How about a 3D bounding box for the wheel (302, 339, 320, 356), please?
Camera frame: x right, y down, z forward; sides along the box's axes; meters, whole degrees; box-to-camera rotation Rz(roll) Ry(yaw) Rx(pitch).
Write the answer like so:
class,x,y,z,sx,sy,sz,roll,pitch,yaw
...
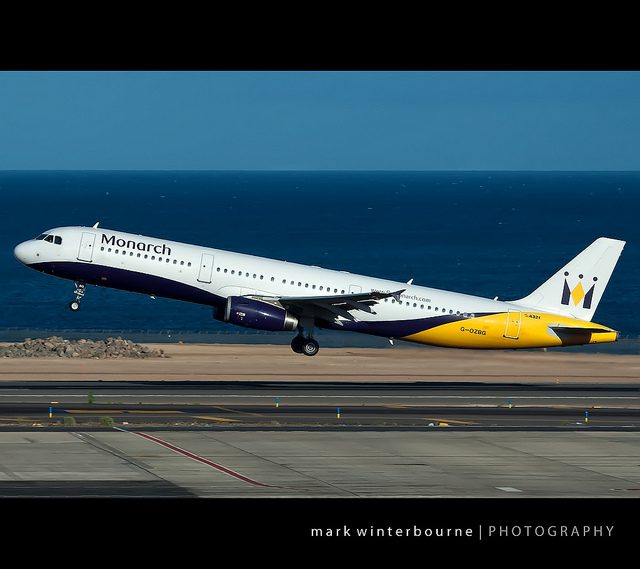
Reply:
class,x,y,z,sx,sy,sz,roll,pitch,yaw
wheel,-0.695,3.525,63.419,0.855,0.891,0.518,-1,7,-10
